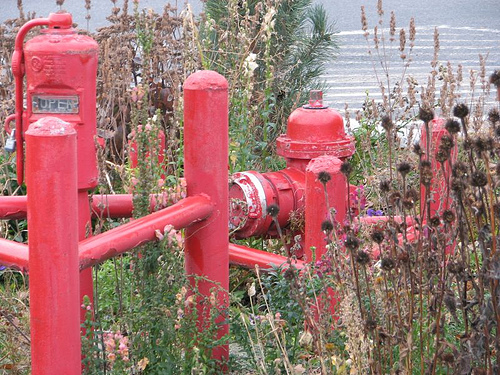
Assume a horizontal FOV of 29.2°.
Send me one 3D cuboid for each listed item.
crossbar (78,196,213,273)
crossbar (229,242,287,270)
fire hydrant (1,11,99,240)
[{"bbox_3d":[-0.498,0.203,4.629,0.694,0.137,0.122,-21,43,-21],"label":"crossbar"},{"bbox_3d":[0.012,0.393,5.477,0.259,0.130,0.313,10,20,43],"label":"crossbar"},{"bbox_3d":[-1.019,-0.316,4.941,0.472,1.140,0.228,-1,4,16],"label":"fire hydrant"}]
